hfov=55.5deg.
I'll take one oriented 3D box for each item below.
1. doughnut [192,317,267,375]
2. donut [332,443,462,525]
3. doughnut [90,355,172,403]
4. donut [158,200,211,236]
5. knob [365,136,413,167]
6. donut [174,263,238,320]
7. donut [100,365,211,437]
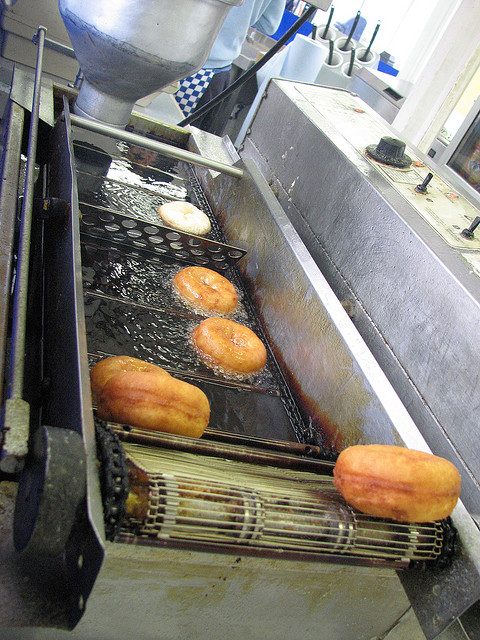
[{"bbox_3d":[-0.035,0.091,1.674,0.212,0.091,0.228,16,24,-35],"label":"doughnut"},{"bbox_3d":[0.318,0.325,0.944,0.240,0.133,0.243,13,-12,-32],"label":"donut"},{"bbox_3d":[-0.316,0.194,1.296,0.218,0.081,0.225,12,-9,-17],"label":"doughnut"},{"bbox_3d":[-0.264,-0.525,2.372,0.313,0.079,0.226,19,30,-26],"label":"donut"},{"bbox_3d":[0.662,-0.767,2.069,0.172,0.063,0.171,-22,54,-35],"label":"knob"},{"bbox_3d":[-0.140,-0.127,1.956,0.266,0.092,0.269,13,33,-35],"label":"donut"},{"bbox_3d":[-0.186,0.205,1.043,0.247,0.134,0.117,23,27,-19],"label":"donut"}]
